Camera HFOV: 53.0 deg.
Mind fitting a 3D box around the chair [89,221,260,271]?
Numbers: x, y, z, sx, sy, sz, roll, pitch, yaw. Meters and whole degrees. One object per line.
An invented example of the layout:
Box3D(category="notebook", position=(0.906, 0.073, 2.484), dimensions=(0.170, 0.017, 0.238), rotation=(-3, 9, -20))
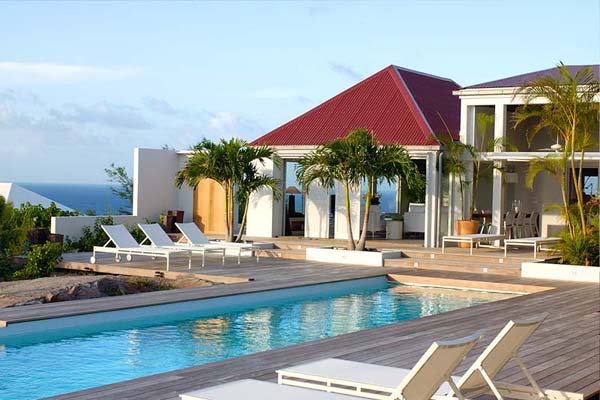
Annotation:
Box3D(category="chair", position=(-4.176, 1.241, 16.789), dimensions=(3.529, 1.150, 2.194), rotation=(-2, -2, 29))
